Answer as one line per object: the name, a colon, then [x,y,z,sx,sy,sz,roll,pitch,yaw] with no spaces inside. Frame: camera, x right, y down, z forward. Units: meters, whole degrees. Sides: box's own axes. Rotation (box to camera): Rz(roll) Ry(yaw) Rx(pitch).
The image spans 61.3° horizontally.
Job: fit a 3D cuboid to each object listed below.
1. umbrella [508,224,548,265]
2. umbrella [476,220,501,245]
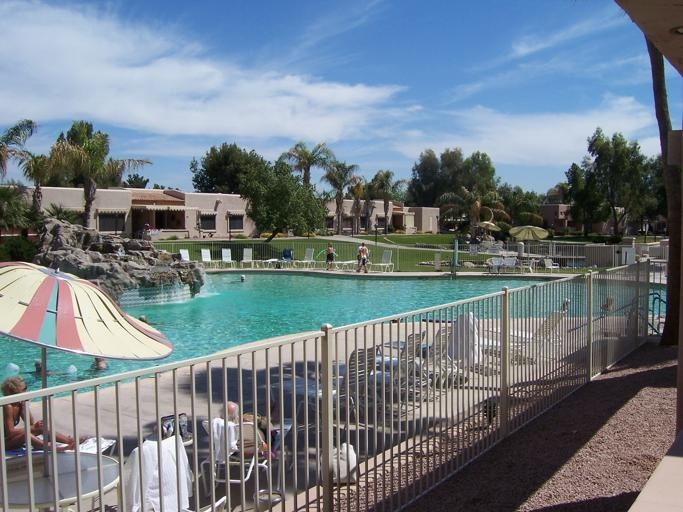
umbrella: [9.415,-0.933,28.779,2.242,2.239,2.410,3,1,6]
umbrella: [9.809,-1.582,38.977,1.667,1.357,1.705,3,8,6]
